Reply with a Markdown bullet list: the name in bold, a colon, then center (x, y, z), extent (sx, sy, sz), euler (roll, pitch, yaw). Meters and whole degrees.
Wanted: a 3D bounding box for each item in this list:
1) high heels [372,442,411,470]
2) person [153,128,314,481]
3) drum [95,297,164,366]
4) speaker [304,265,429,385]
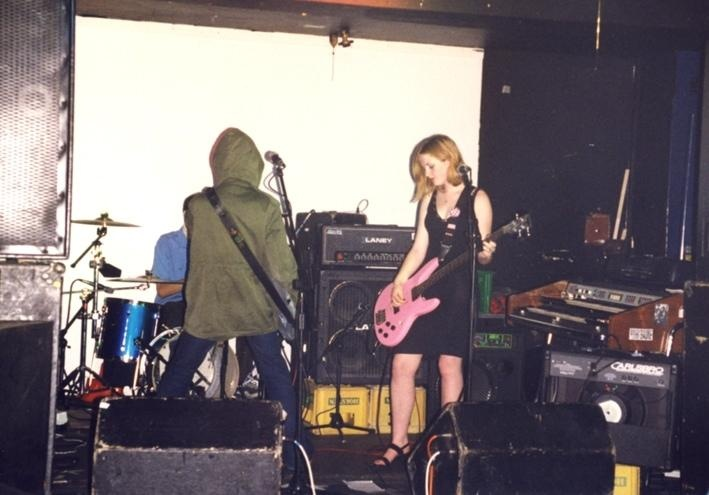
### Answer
- **high heels**: center (0.250, 1.382, 6.027), extent (0.319, 0.141, 0.115), euler (11, -13, -43)
- **person**: center (-0.832, 0.265, 5.931), extent (0.924, 2.261, 0.705), euler (0, 19, -12)
- **drum**: center (-1.664, 0.659, 7.030), extent (0.428, 0.524, 0.451), euler (3, -7, 33)
- **speaker**: center (0.243, 0.621, 6.902), extent (0.855, 0.886, 0.616), euler (1, -4, 26)
